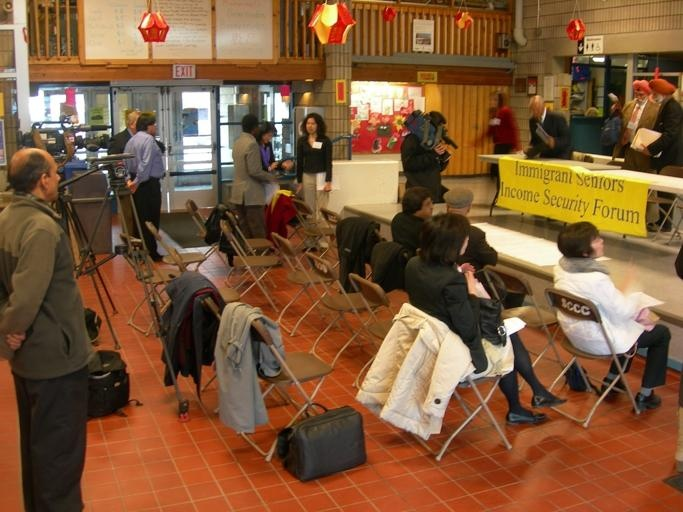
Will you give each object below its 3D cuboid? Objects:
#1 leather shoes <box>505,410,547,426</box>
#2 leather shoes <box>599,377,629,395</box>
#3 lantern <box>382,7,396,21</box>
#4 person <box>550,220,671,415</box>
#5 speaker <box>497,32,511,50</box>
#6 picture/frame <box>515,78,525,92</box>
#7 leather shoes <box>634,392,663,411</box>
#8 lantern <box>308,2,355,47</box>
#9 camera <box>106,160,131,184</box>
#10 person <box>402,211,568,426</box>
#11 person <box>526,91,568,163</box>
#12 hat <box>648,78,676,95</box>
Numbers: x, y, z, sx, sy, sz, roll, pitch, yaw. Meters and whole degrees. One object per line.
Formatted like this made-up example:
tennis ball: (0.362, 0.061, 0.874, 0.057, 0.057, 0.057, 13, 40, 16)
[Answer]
leather shoes: (1.444, 1.280, 4.403, 0.314, 0.105, 0.118, -5, 5, -3)
leather shoes: (2.309, 1.113, 4.771, 0.351, 0.142, 0.119, -10, 10, -43)
lantern: (1.078, -5.613, 12.919, 0.383, 0.406, 0.395, -1, 15, -1)
person: (2.201, 0.482, 4.607, 0.859, 1.625, 0.712, -10, 14, -11)
speaker: (4.328, -5.755, 14.892, 0.490, 0.445, 0.145, -7, 15, -19)
picture/frame: (4.781, -4.637, 15.012, 0.034, 0.402, 0.388, -2, 7, -30)
leather shoes: (2.514, 1.191, 4.640, 0.271, 0.139, 0.110, -7, 10, -33)
lantern: (-0.110, -2.919, 6.920, 0.481, 0.490, 0.340, -2, 15, 0)
camera: (-1.795, -0.702, 4.472, 0.181, 0.227, 0.155, -13, 23, -19)
person: (0.981, 0.520, 4.131, 0.900, 1.721, 0.582, -10, 17, -29)
person: (3.322, -2.079, 8.942, 0.672, 0.989, 0.710, 5, 16, 22)
hat: (4.789, -2.546, 8.392, 0.332, 0.218, 0.320, 6, 17, 27)
